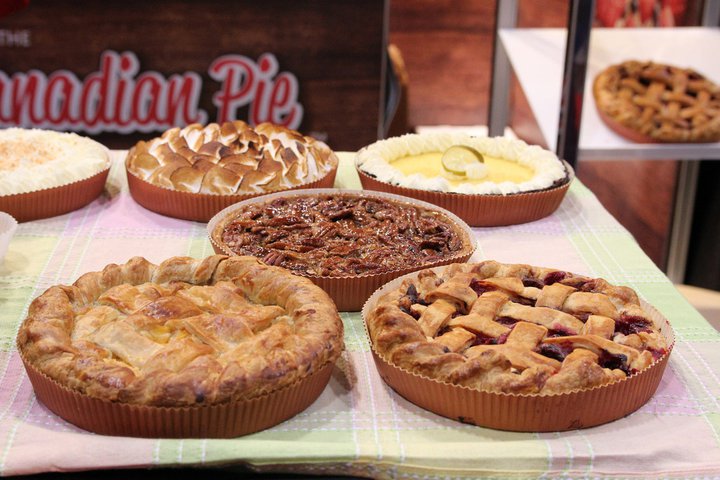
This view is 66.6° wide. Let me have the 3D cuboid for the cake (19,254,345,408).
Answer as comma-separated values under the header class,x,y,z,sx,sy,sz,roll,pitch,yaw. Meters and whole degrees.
class,x,y,z,sx,sy,sz,roll,pitch,yaw
cake,-0.612,0.303,1.899,0.911,0.166,0.814,21,35,34
